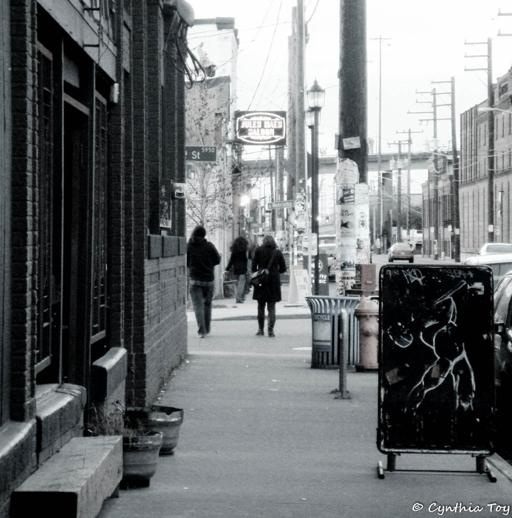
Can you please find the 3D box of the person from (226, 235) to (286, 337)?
[{"bbox_3d":[0.226,0.474,16.224,0.502,1.883,0.803,0,0,0],"label":"person"}]

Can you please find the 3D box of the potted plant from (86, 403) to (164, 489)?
[{"bbox_3d":[-0.928,1.382,6.086,0.466,0.351,0.661,1,-10,19],"label":"potted plant"}]

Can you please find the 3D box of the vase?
[{"bbox_3d":[-0.789,1.289,6.666,0.343,0.396,0.368,-1,-2,9],"label":"vase"}]

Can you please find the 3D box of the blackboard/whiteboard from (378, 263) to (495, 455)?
[{"bbox_3d":[1.306,0.716,6.282,0.833,1.330,0.268,0,1,10],"label":"blackboard/whiteboard"}]

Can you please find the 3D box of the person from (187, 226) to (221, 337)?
[{"bbox_3d":[-0.953,0.419,15.973,0.599,2.080,0.895,0,1,-3],"label":"person"}]

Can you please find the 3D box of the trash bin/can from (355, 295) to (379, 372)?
[{"bbox_3d":[1.517,1.030,11.845,0.301,1.021,0.466,0,1,6],"label":"trash bin/can"}]

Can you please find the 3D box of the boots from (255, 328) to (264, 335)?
[{"bbox_3d":[0.099,1.389,16.704,0.068,0.126,0.150,-3,-11,24],"label":"boots"}]
